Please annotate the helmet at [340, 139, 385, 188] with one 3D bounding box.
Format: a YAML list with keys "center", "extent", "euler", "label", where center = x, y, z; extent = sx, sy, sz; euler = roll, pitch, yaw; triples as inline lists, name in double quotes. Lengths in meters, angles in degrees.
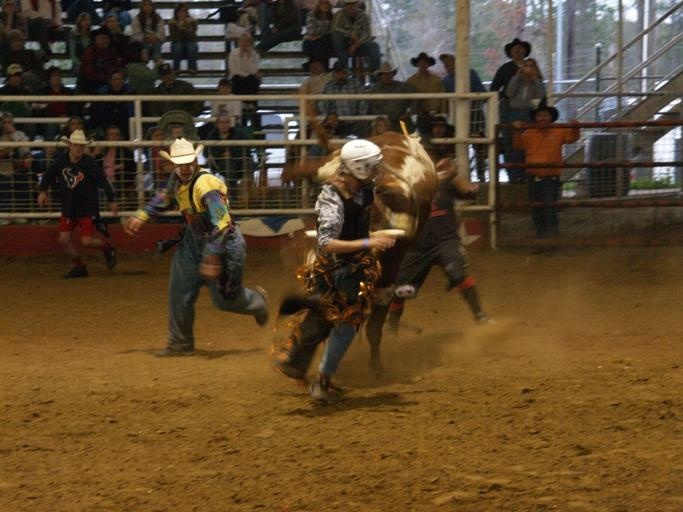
- center: [0.055, -0.609, 4.387]
  extent: [0.351, 0.203, 0.251]
  euler: [-13, 27, -25]
  label: "helmet"

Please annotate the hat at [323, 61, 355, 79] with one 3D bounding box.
- center: [-0.028, -2.879, 10.924]
  extent: [0.564, 0.119, 0.555]
  euler: [0, 3, -1]
  label: "hat"

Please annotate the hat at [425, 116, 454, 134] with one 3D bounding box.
- center: [1.298, -1.762, 9.336]
  extent: [0.381, 0.124, 0.390]
  euler: [0, -14, 4]
  label: "hat"

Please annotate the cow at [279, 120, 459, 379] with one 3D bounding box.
- center: [0.154, -0.034, 4.982]
  extent: [1.026, 1.903, 1.374]
  euler: [-2, 7, 8]
  label: "cow"
